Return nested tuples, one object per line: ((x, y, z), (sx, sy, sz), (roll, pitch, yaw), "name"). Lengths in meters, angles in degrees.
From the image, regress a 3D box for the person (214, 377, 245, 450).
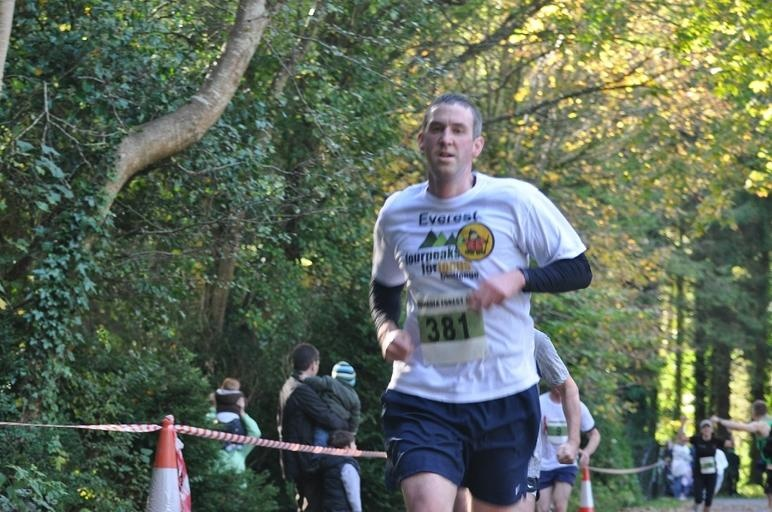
((-2.698, 2.662, 28.372), (0.577, 1.047, 0.497), (4, -15, -5), "person")

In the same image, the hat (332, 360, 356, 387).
((-0.716, 2.033, 27.880), (0.368, 0.503, 0.510), (15, 1, -3), "hat")
